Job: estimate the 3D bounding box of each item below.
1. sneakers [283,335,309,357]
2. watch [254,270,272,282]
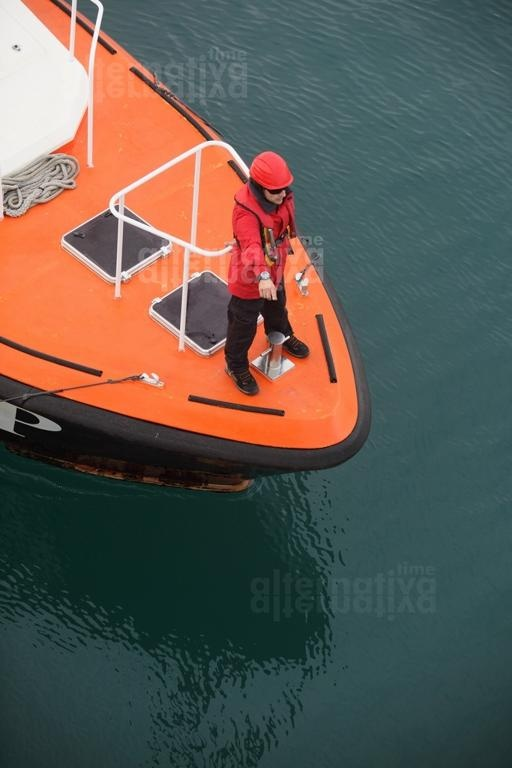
[{"bbox_3d":[0.224,-0.196,4.553,0.180,0.074,0.067,30,85,16],"label":"sneakers"},{"bbox_3d":[0.043,-0.457,3.585,0.061,0.050,0.034,-2,86,-7],"label":"watch"}]
